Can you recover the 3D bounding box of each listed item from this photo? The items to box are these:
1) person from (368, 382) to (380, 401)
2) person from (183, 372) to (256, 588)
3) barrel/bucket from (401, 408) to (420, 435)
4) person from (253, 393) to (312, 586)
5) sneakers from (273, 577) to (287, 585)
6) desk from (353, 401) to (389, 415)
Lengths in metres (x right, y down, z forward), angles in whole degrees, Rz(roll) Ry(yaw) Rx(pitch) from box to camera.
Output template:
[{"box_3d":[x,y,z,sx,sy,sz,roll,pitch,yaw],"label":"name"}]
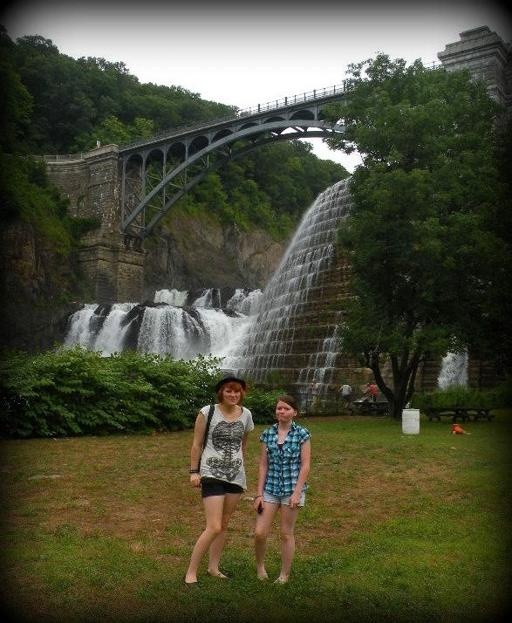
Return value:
[{"box_3d":[4.125,2.809,21.300,0.386,0.592,1.352,3,-2,11],"label":"person"},{"box_3d":[-0.276,1.206,4.380,0.345,1.488,0.434,2,-3,28],"label":"person"},{"box_3d":[3.326,2.331,12.996,0.371,0.518,0.565,3,-3,14],"label":"barrel/bucket"},{"box_3d":[0.188,1.321,4.501,0.360,1.393,0.453,4,-3,1],"label":"person"},{"box_3d":[0.188,1.959,4.436,0.124,0.045,0.035,0,-34,16],"label":"sneakers"},{"box_3d":[3.597,3.034,19.260,1.233,0.441,0.780,2,-3,25],"label":"desk"}]
